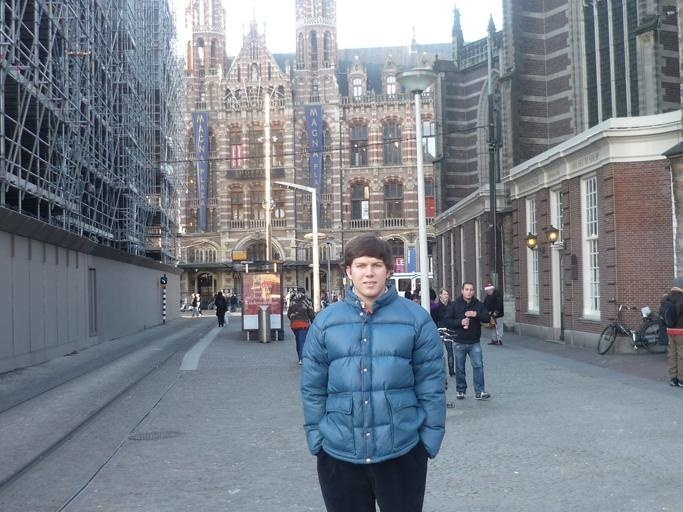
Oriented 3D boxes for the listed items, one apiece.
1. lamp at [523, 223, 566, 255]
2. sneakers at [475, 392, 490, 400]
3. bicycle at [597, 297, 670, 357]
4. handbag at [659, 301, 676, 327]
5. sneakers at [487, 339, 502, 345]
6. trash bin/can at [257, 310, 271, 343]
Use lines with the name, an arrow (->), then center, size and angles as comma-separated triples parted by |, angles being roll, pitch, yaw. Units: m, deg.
lamp -> 6.579, -0.536, 22.831 | 0.621, 0.523, 1.016 | 2, -8, -15
sneakers -> 2.408, 2.390, 12.160 | 0.225, 0.131, 0.272 | 0, -1, 11
bicycle -> 7.373, 1.801, 18.083 | 2.211, 1.640, 1.273 | 1, -5, 22
handbag -> 5.938, 1.057, 12.951 | 0.280, 0.478, 0.181 | 0, -1, 23
sneakers -> 4.893, 2.761, 22.701 | 0.517, 0.221, 0.176 | 13, -16, -32
trash bin/can -> -2.812, 2.497, 26.005 | 0.402, 1.306, 0.385 | 1, -1, -14
